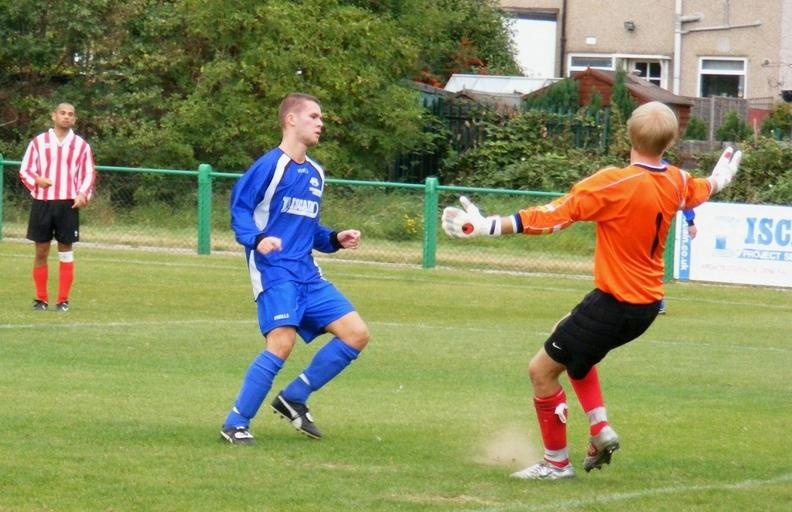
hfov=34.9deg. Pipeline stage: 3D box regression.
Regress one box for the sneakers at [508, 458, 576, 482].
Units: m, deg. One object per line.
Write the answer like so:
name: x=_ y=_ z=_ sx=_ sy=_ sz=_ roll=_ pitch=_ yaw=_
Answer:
sneakers: x=1.703 y=2.520 z=14.733 sx=0.795 sy=0.206 sz=0.248 roll=0 pitch=-11 yaw=-1

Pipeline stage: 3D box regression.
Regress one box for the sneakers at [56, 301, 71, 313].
sneakers: x=-5.097 y=0.782 z=19.299 sx=0.145 sy=0.132 sz=0.172 roll=2 pitch=-6 yaw=-4

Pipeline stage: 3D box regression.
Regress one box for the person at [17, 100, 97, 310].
person: x=-5.214 y=-0.775 z=19.393 sx=1.089 sy=3.170 sz=0.790 roll=0 pitch=6 yaw=-14

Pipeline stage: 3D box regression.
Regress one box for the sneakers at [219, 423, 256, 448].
sneakers: x=-1.870 y=2.124 z=14.876 sx=0.407 sy=0.144 sz=0.169 roll=4 pitch=45 yaw=-10

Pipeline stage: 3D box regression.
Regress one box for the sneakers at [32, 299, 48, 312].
sneakers: x=-5.424 y=0.760 z=19.319 sx=0.170 sy=0.208 sz=0.233 roll=-3 pitch=-15 yaw=-9
